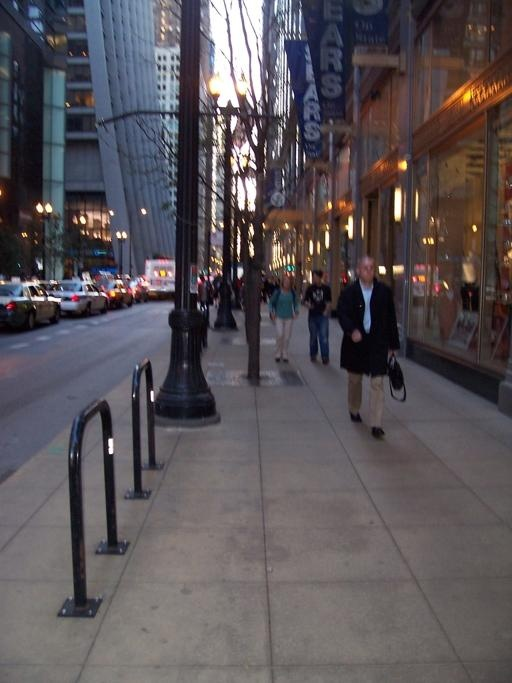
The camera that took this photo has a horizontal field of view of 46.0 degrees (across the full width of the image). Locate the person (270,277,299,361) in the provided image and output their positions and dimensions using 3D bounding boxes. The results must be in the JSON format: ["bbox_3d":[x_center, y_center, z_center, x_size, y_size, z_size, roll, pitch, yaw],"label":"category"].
[{"bbox_3d":[0.596,-0.481,13.197,0.565,1.908,1.387,0,3,2],"label":"person"}]

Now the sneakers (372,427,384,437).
[{"bbox_3d":[1.360,1.000,6.716,0.055,0.115,0.194,0,-2,-4],"label":"sneakers"}]

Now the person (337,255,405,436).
[{"bbox_3d":[1.274,0.039,6.913,0.692,2.001,1.106,1,3,10],"label":"person"}]

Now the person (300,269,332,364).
[{"bbox_3d":[1.353,-0.535,13.272,0.532,2.010,1.534,1,3,7],"label":"person"}]

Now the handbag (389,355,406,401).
[{"bbox_3d":[1.866,0.518,7.957,0.145,0.675,0.468,-3,7,4],"label":"handbag"}]
